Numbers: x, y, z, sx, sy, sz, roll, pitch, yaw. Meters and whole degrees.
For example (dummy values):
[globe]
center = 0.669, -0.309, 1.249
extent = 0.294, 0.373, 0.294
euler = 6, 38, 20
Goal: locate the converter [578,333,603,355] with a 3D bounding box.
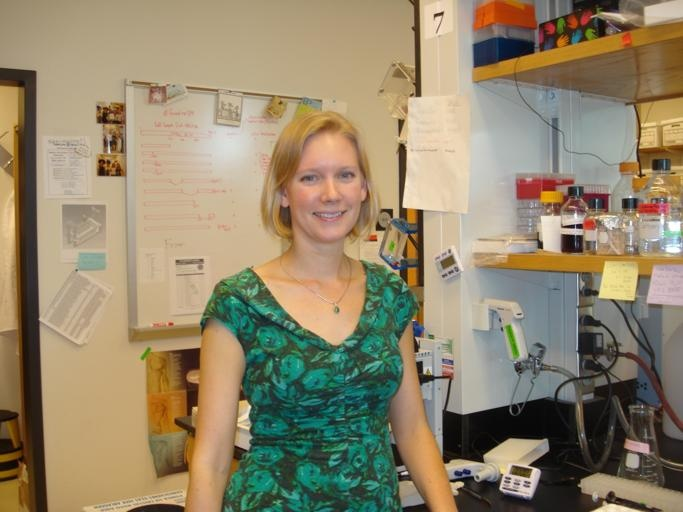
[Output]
[converter]
center = 1.082, 0.379, 2.332
extent = 0.093, 0.097, 0.095
euler = 2, -4, -16

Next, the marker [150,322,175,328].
[marker]
center = -1.162, 0.451, 3.516
extent = 0.142, 0.045, 0.006
euler = -3, 2, -26

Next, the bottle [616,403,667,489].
[bottle]
center = 1.116, 0.693, 1.994
extent = 0.149, 0.277, 0.185
euler = 0, 2, 32
